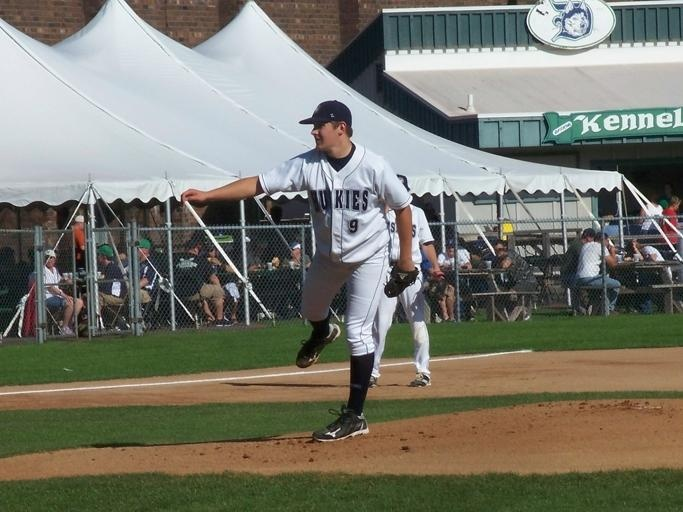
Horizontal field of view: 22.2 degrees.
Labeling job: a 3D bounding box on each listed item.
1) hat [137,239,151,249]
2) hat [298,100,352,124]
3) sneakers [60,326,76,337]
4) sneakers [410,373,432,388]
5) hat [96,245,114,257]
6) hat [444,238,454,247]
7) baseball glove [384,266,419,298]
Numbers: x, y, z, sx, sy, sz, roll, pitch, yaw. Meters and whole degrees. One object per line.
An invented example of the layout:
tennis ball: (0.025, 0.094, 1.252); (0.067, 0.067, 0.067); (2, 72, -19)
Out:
hat: (-4.526, -0.326, 40.042); (0.240, 0.098, 0.171); (22, 3, 37)
hat: (-0.230, -2.562, 30.816); (0.623, 0.406, 0.446); (3, 0, -6)
sneakers: (-6.131, 1.630, 38.960); (0.399, 0.196, 0.149); (-2, -4, 44)
sneakers: (1.495, 2.327, 33.230); (0.182, 0.219, 0.429); (-4, -7, 42)
hat: (-5.289, -0.178, 39.016); (0.340, 0.268, 0.589); (-1, -4, -8)
hat: (2.496, -0.373, 40.236); (0.148, 0.152, 0.270); (0, 0, 3)
baseball glove: (1.010, 0.437, 31.152); (0.711, 0.360, 0.308); (-51, -12, 27)
